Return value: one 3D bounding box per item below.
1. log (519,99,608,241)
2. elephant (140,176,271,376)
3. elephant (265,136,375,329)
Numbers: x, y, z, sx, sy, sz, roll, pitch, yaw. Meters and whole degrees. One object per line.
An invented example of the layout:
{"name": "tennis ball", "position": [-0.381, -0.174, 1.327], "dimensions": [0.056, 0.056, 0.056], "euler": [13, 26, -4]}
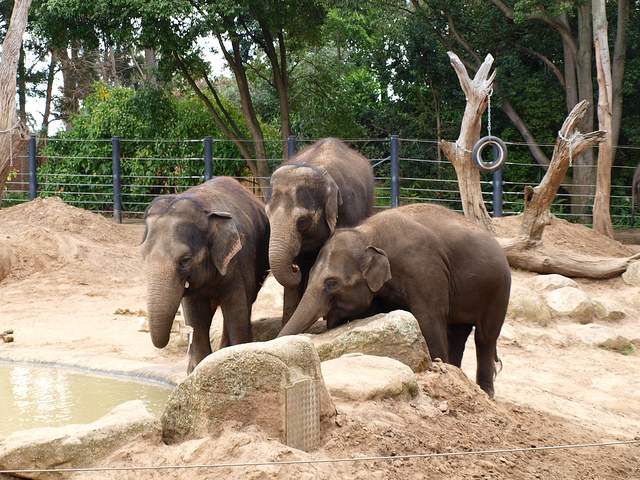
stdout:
{"name": "log", "position": [3.781, -1.074, 12.395], "dimensions": [1.296, 2.190, 1.027], "euler": [1, 2, 7]}
{"name": "elephant", "position": [-1.057, 0.428, 8.019], "dimensions": [0.927, 1.921, 2.143], "euler": [-4, 2, 25]}
{"name": "elephant", "position": [0.037, -0.118, 8.667], "dimensions": [0.870, 1.841, 2.338], "euler": [4, 15, 24]}
